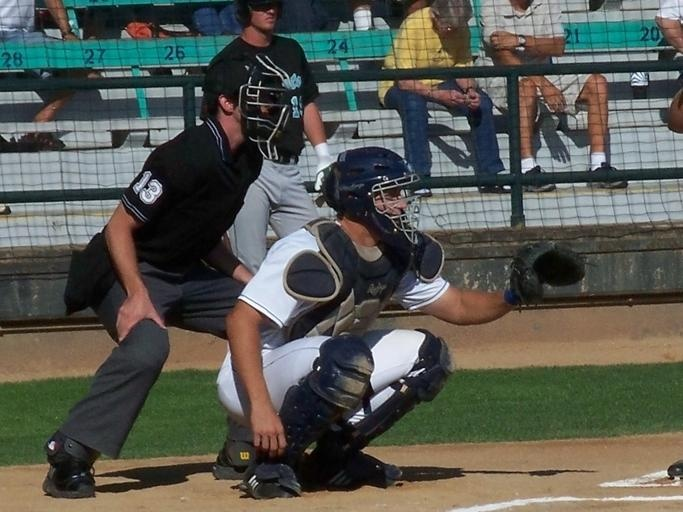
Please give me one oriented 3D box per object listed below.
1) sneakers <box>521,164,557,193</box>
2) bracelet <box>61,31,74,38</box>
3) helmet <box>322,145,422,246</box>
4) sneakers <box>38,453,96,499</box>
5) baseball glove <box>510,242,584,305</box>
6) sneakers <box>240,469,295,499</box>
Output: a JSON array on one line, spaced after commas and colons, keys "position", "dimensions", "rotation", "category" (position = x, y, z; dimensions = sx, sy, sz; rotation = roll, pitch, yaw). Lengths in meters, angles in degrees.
[{"position": [1.528, -0.604, 14.929], "dimensions": [0.429, 0.258, 0.134], "rotation": [0, 4, 3], "category": "sneakers"}, {"position": [-2.326, -1.882, 15.486], "dimensions": [0.067, 0.048, 0.066], "rotation": [5, 15, 40], "category": "bracelet"}, {"position": [0.199, -0.417, 11.917], "dimensions": [0.635, 0.540, 0.509], "rotation": [12, 15, 39], "category": "helmet"}, {"position": [-1.755, 1.423, 11.702], "dimensions": [0.180, 0.180, 0.437], "rotation": [0, 7, -31], "category": "sneakers"}, {"position": [1.352, 0.087, 11.746], "dimensions": [0.461, 0.315, 0.594], "rotation": [-8, 21, -4], "category": "baseball glove"}, {"position": [-0.457, 1.463, 11.582], "dimensions": [0.293, 0.106, 0.177], "rotation": [-4, 3, -2], "category": "sneakers"}]
